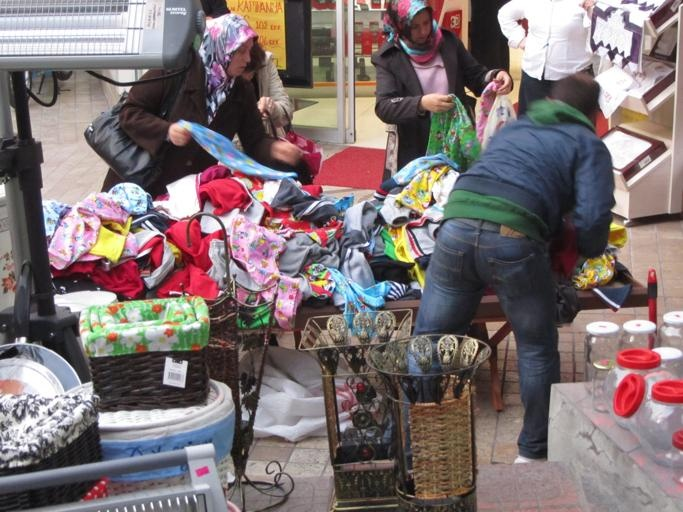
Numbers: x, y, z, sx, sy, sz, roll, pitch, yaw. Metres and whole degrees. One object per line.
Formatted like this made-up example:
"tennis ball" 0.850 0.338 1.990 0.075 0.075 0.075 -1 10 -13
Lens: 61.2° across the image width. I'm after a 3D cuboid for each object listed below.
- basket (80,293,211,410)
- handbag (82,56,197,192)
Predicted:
"basket" -0.522 0.252 1.554 0.326 0.234 0.254 -4 14 -15
"handbag" -1.259 -0.804 3.650 0.749 0.820 0.407 7 15 28
